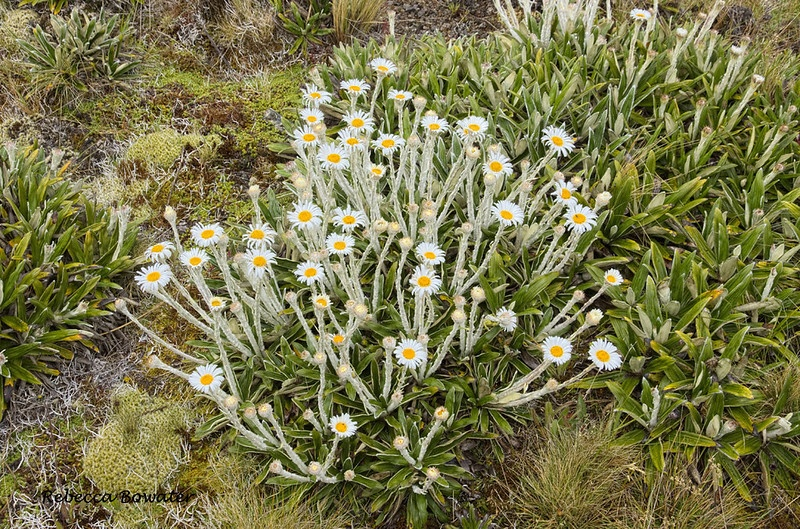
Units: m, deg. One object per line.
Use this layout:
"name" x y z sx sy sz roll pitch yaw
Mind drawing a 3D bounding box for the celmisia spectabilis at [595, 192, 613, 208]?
"celmisia spectabilis" 1.576 -0.502 4.899 0.062 0.178 0.061 8 66 -13

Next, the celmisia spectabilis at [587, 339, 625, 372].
"celmisia spectabilis" 1.416 0.658 4.366 0.234 0.088 0.251 19 51 2

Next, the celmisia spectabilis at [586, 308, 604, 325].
"celmisia spectabilis" 1.402 0.372 4.562 0.106 0.106 0.118 26 89 -4

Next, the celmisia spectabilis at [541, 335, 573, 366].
"celmisia spectabilis" 1.078 0.556 4.368 0.180 0.157 0.270 7 46 7
